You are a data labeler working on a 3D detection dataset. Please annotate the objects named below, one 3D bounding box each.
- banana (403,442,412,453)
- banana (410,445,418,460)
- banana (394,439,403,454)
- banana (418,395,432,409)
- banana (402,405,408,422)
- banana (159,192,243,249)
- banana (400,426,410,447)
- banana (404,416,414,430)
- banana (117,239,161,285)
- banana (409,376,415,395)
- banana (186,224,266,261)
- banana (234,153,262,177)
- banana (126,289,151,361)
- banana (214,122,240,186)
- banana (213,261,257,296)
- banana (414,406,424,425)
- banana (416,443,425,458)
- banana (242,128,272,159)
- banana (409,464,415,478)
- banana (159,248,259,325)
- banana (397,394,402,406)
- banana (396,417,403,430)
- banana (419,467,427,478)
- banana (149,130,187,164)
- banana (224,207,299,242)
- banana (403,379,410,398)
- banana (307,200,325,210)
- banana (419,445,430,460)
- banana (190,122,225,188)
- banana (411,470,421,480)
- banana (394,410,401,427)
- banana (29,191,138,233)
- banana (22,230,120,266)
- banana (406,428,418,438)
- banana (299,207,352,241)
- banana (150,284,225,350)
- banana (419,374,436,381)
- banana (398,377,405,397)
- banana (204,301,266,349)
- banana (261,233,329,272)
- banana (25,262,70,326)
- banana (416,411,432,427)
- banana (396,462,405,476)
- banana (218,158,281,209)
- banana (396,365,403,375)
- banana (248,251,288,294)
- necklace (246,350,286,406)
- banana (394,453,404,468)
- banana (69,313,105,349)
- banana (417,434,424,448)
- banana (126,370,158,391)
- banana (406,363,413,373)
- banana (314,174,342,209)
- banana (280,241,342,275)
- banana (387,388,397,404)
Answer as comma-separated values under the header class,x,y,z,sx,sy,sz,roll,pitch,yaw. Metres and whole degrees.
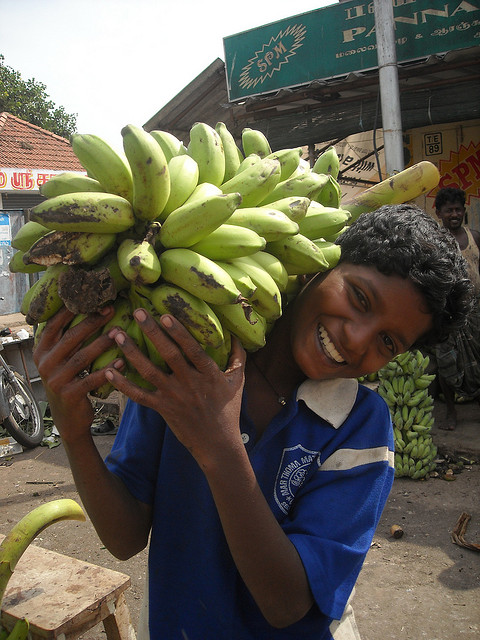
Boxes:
class,x,y,z,sx,sy,sz,roll,pitch,yaw
banana,1.596,1.206,5.102,0.072,0.088,0.029,40,25,13
banana,1.661,1.247,5.090,0.094,0.128,0.058,-11,9,-32
banana,1.523,1.213,5.156,0.047,0.130,0.105,-9,8,-12
banana,1.833,0.815,5.361,0.065,0.202,0.072,34,-15,16
banana,1.621,0.912,5.274,0.047,0.129,0.039,24,-34,-7
banana,-0.116,-0.189,1.206,0.245,0.072,0.082,-20,31,43
banana,1.599,1.120,5.223,0.049,0.155,0.036,-10,-17,13
banana,1.624,0.993,5.193,0.113,0.061,0.038,-50,18,-9
banana,-0.218,-0.128,1.139,0.094,0.070,0.173,-8,27,-21
banana,1.721,0.648,5.369,0.074,0.163,0.044,0,4,31
banana,-0.028,-0.166,1.226,0.226,0.062,0.072,-2,43,27
banana,0.030,-0.429,1.491,0.039,0.042,0.122,-26,22,38
banana,-0.233,0.014,1.259,0.048,0.172,0.066,-10,9,4
banana,-0.060,-0.475,1.537,0.065,0.215,0.078,-31,-44,30
banana,-0.016,-0.109,1.235,0.039,0.120,0.040,-33,-18,-9
banana,1.748,0.926,5.252,0.192,0.054,0.065,-49,2,-12
banana,1.704,1.220,5.075,0.044,0.139,0.050,17,-10,7
banana,0.051,-0.512,1.571,0.076,0.105,0.037,-24,-4,6
banana,1.610,1.402,5.035,0.064,0.092,0.027,7,-3,40
banana,-0.081,-0.088,1.117,0.263,0.074,0.088,27,-29,5
banana,1.594,0.792,5.343,0.044,0.096,0.061,-1,9,36
banana,1.552,1.011,5.237,0.025,0.096,0.075,2,-4,-42
banana,1.714,1.416,5.041,0.049,0.080,0.028,36,7,40
banana,-0.198,-0.471,1.465,0.109,0.044,0.142,6,46,-4
banana,0.059,-0.215,1.237,0.221,0.071,0.065,4,25,36
banana,1.646,0.673,5.339,0.049,0.156,0.056,11,-17,16
banana,0.205,-0.313,1.472,0.051,0.011,0.046,-3,36,-1
banana,1.755,1.249,5.086,0.051,0.174,0.060,30,-7,8
banana,-0.084,-0.417,1.409,0.105,0.046,0.178,13,-21,7
banana,1.650,1.436,5.033,0.075,0.062,0.023,-49,-8,-6
banana,1.539,0.935,5.269,0.032,0.106,0.094,11,-15,-28
banana,-0.321,-0.232,1.143,0.243,0.082,0.078,-2,2,11
banana,-0.364,-0.155,1.166,0.206,0.076,0.087,-7,7,-11
banana,1.653,1.082,5.181,0.090,0.076,0.087,1,10,45
banana,0.218,-0.254,1.428,0.198,0.065,0.056,-15,6,-27
banana,-0.099,-0.002,1.198,0.089,0.181,0.065,-53,9,-11
banana,1.883,0.563,5.385,0.082,0.032,0.089,11,-21,-23
banana,1.614,0.661,5.386,0.075,0.186,0.051,4,-24,37
banana,-0.024,0.010,1.294,0.073,0.077,0.233,-3,-15,25
banana,0.151,-0.170,1.342,0.224,0.071,0.066,0,-3,34
banana,-0.432,-0.054,1.240,0.091,0.153,0.057,30,33,8
banana,1.838,0.974,5.304,0.066,0.228,0.078,33,-23,7
banana,1.520,1.399,5.094,0.041,0.138,0.053,-7,15,-2
banana,0.020,-0.338,1.351,0.078,0.062,0.223,-26,11,-11
banana,1.594,0.494,5.396,0.047,0.103,0.052,-13,10,-36
banana,0.074,-0.117,1.317,0.065,0.109,0.030,-42,25,-2
necklace,0.076,0.170,1.597,0.031,0.145,0.135,-13,10,-34
banana,1.515,1.326,5.124,0.041,0.119,0.043,12,-37,-22
banana,-0.353,0.024,1.230,0.082,0.081,0.061,-7,8,-4
banana,1.744,1.141,5.146,0.074,0.040,0.132,-7,39,33
banana,-0.224,0.138,1.234,0.079,0.021,0.016,36,48,27
banana,1.685,0.470,5.339,0.036,0.124,0.027,-21,19,8
banana,0.268,-0.375,1.598,0.043,0.079,0.121,-4,-30,-20
banana,0.191,-0.169,1.424,0.117,0.044,0.132,15,-12,-13
banana,1.515,0.755,5.381,0.069,0.139,0.119,-9,8,-15
